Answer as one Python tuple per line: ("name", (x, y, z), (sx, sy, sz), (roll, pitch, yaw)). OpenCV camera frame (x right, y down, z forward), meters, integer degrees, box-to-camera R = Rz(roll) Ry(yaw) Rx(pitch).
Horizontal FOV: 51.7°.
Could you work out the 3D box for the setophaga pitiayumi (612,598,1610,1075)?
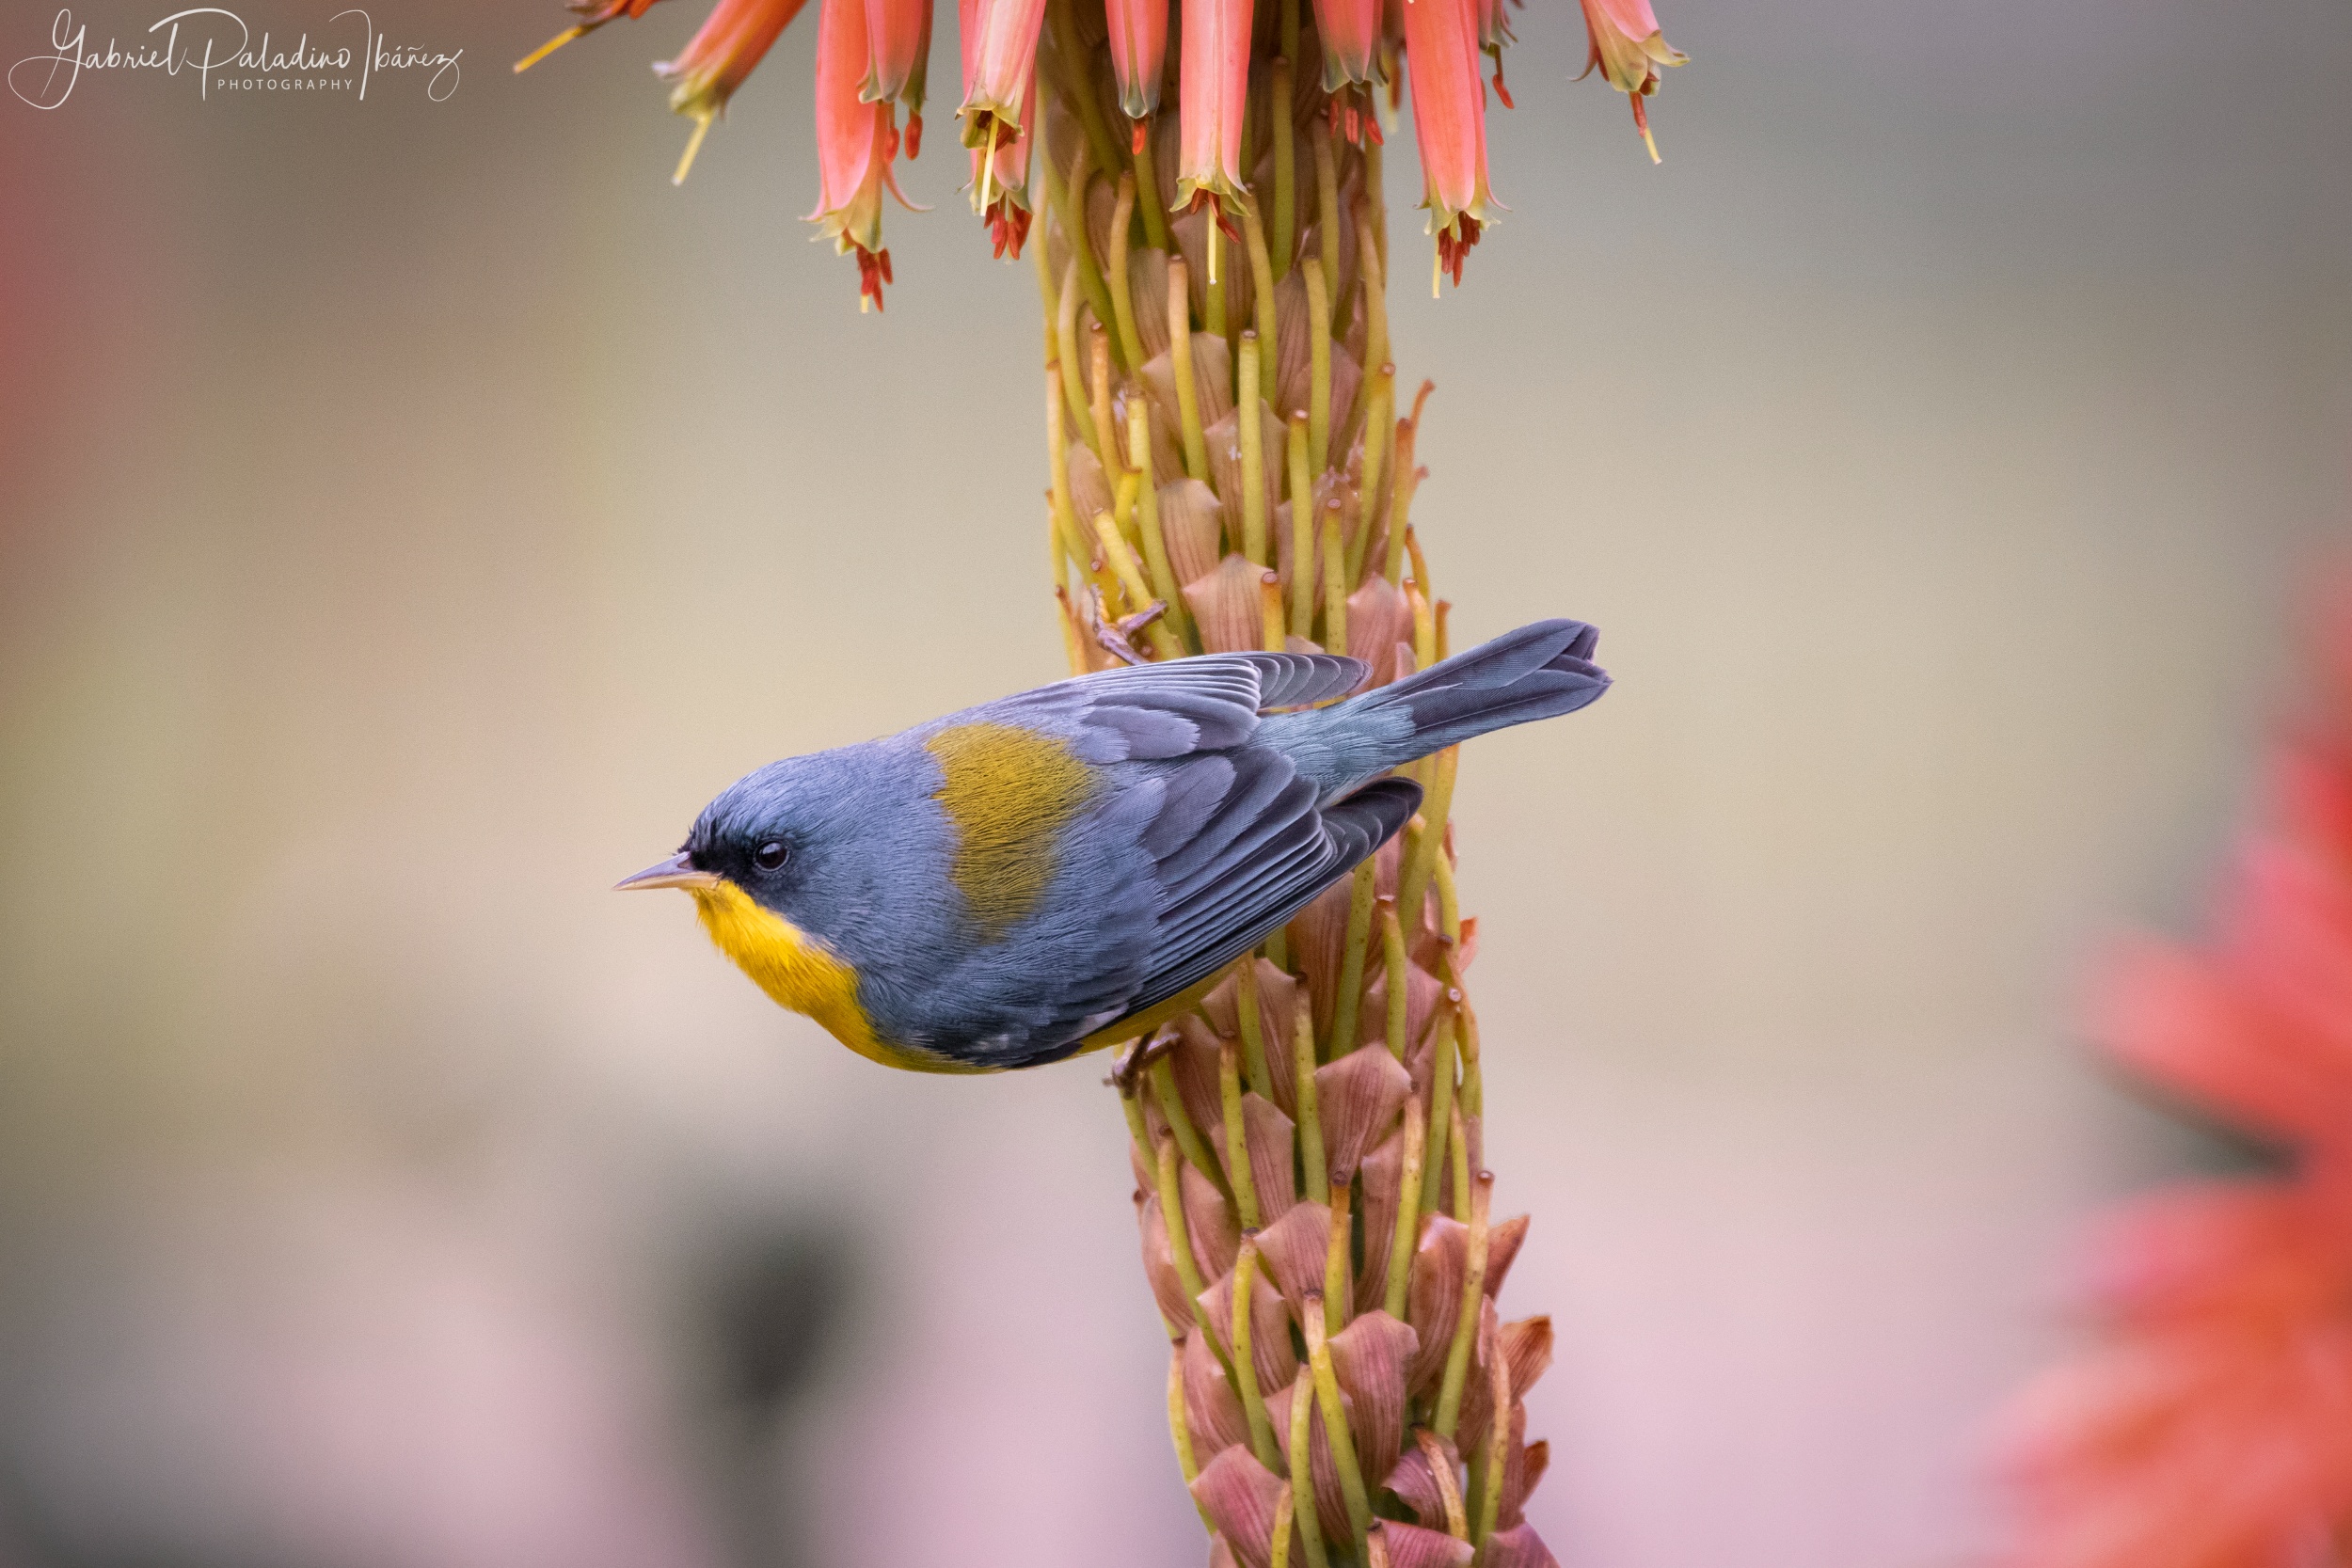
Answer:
("setophaga pitiayumi", (0.005, 0.018, 2.555), (0.983, 0.360, 0.462), (-23, -39, -10))
